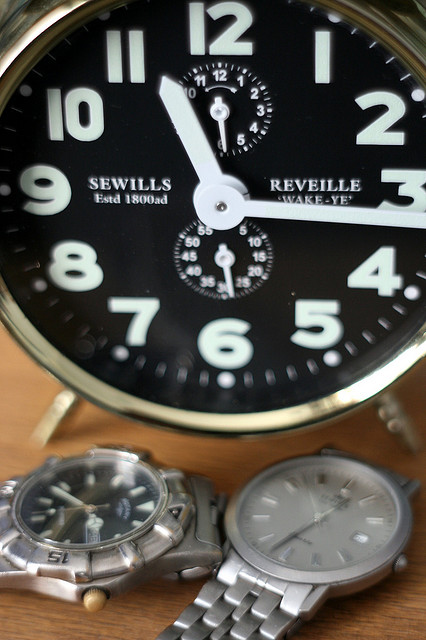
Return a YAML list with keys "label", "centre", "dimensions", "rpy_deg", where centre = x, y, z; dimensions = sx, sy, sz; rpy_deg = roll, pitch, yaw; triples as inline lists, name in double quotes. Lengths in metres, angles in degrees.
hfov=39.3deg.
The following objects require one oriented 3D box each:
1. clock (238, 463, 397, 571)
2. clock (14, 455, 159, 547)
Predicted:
- label: "clock"
  centre: [0.092, 0.170, 0.513]
  dimensions: [0.144, 0.013, 0.136]
  rpy_deg: [-5, 24, 9]
- label: "clock"
  centre: [-0.110, 0.155, 0.526]
  dimensions: [0.122, 0.045, 0.120]
  rpy_deg: [-3, 38, -3]
